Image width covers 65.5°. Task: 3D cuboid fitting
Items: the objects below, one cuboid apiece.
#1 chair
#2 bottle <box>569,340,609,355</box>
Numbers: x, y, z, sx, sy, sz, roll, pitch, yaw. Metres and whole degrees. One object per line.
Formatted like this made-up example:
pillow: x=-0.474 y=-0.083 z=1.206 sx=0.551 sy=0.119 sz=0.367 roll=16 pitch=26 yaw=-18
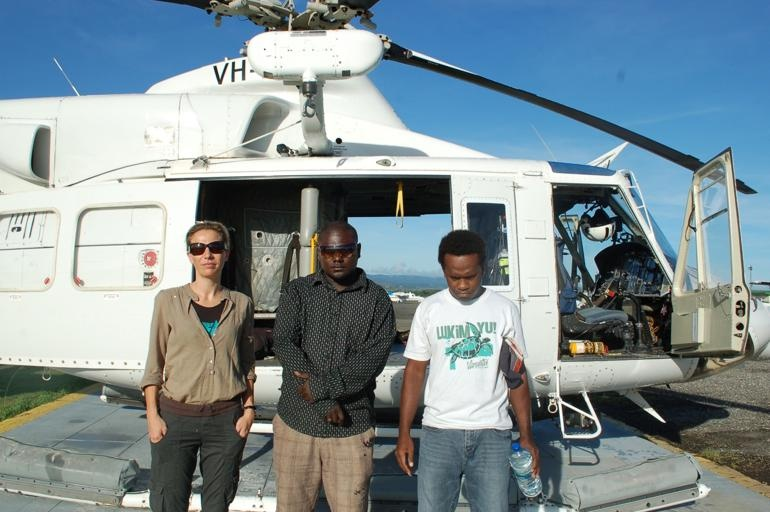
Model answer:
chair: x=2.474 y=0.458 z=7.241 sx=1.017 sy=1.335 sz=0.885 roll=-3 pitch=16 yaw=0
bottle: x=2.295 y=1.038 z=6.778 sx=0.490 sy=0.159 sz=0.148 roll=1 pitch=-6 yaw=-22
